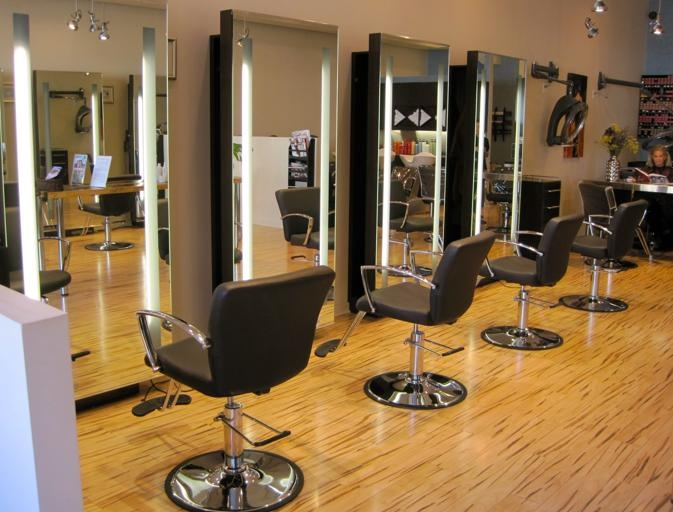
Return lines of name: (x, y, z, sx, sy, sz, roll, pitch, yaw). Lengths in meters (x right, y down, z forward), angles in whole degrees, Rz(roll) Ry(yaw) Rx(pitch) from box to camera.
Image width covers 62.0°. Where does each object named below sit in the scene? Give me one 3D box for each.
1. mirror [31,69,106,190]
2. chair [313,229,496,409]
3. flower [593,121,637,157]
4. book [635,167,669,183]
mirror: (-1.420, -0.682, 2.963, 0.042, 0.569, 0.384, 12, 18, 37)
chair: (0.589, 0.300, 3.905, 1.230, 1.310, 0.888, 11, 16, 39)
flower: (3.797, -1.548, 7.472, 0.433, 0.405, 0.499, 8, 16, 27)
book: (3.950, -1.005, 7.035, 0.398, 0.172, 0.252, 9, 26, 40)
